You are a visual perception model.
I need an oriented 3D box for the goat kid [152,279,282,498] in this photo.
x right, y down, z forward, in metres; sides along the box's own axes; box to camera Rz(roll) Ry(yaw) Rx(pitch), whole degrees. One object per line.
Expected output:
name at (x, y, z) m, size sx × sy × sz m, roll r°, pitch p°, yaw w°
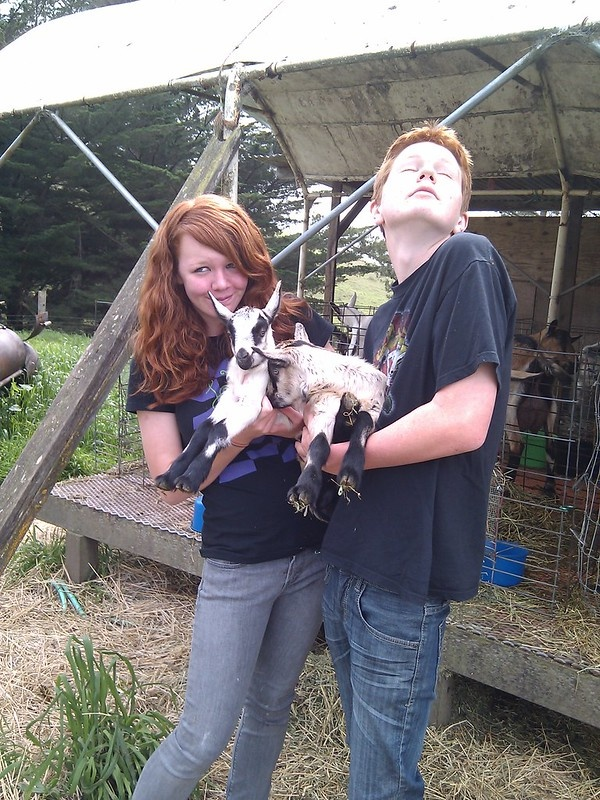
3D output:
goat kid at (-0.189, -0.027, 1.696) m, size 0.436 × 0.429 × 0.293 m, roll 8°, pitch 19°, yaw -20°
